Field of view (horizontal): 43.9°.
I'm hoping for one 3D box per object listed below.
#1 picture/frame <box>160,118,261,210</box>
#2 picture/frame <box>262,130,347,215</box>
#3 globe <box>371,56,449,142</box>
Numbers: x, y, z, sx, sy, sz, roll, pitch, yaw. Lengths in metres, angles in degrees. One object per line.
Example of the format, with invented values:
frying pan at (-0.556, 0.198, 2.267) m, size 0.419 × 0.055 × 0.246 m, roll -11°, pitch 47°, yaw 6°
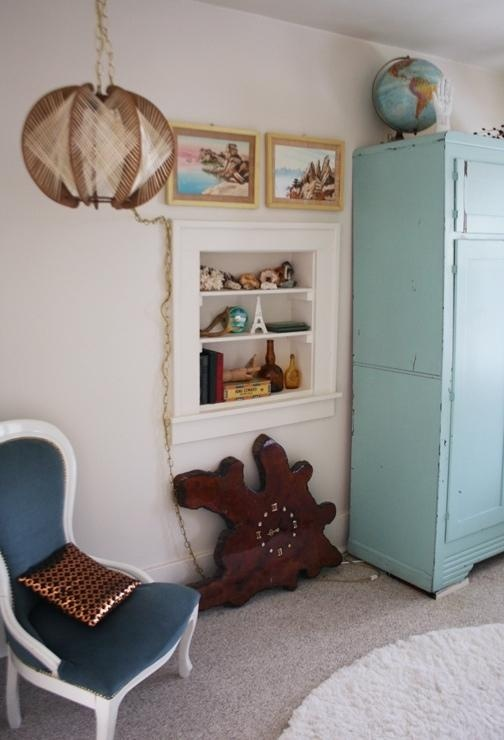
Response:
picture/frame at (-0.149, -0.839, 2.566) m, size 0.466 × 0.325 × 0.038 m, roll -6°, pitch 16°, yaw -35°
picture/frame at (0.248, -0.904, 2.879) m, size 0.458 × 0.326 × 0.056 m, roll -7°, pitch 10°, yaw -39°
globe at (0.688, -1.257, 3.000) m, size 0.364 × 0.410 × 0.344 m, roll -5°, pitch 8°, yaw -1°
